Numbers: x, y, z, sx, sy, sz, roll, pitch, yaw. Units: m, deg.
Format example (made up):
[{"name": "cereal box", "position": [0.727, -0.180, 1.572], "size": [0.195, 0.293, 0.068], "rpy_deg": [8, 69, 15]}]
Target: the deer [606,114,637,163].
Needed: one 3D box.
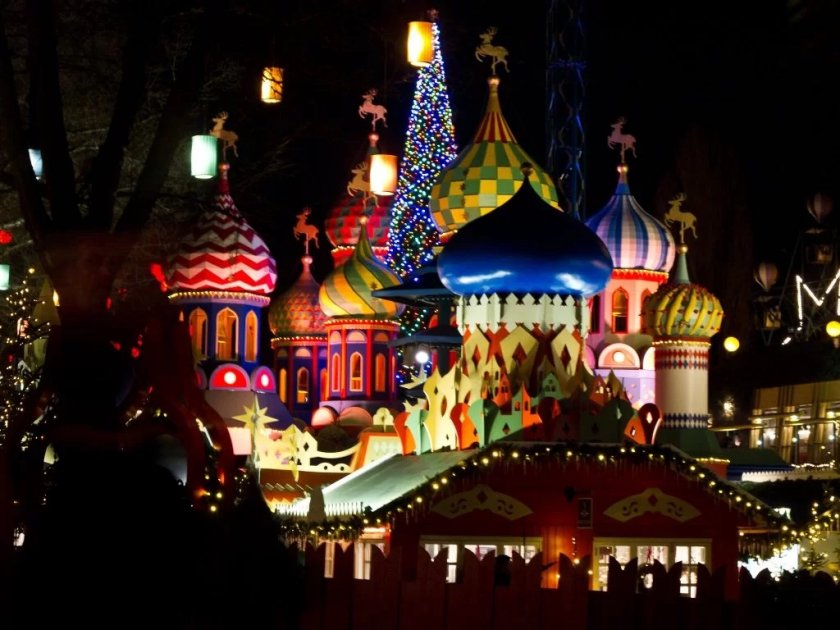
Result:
[{"name": "deer", "position": [5.082, -4.400, 33.752], "size": [0.627, 1.226, 0.362], "rpy_deg": [1, -15, 9]}]

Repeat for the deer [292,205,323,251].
[{"name": "deer", "position": [-3.092, -2.415, 36.067], "size": [0.695, 1.050, 0.310], "rpy_deg": [6, -16, -15]}]

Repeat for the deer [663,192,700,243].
[{"name": "deer", "position": [6.098, -2.265, 31.348], "size": [0.720, 1.250, 0.235], "rpy_deg": [3, -16, 4]}]
